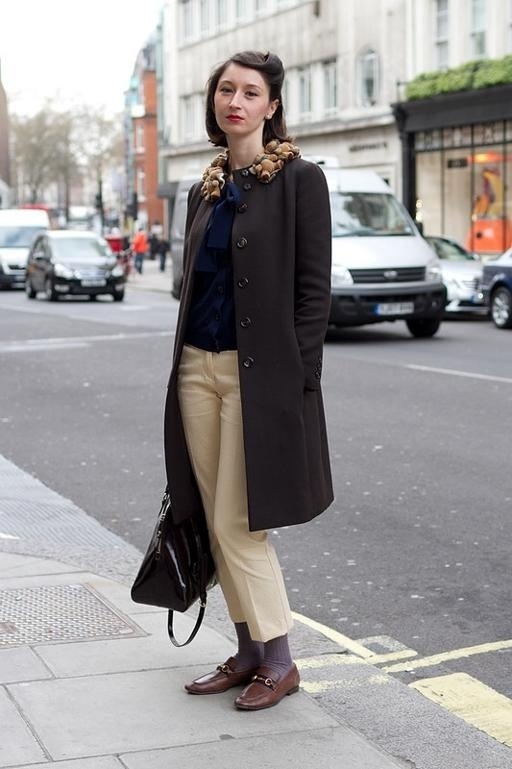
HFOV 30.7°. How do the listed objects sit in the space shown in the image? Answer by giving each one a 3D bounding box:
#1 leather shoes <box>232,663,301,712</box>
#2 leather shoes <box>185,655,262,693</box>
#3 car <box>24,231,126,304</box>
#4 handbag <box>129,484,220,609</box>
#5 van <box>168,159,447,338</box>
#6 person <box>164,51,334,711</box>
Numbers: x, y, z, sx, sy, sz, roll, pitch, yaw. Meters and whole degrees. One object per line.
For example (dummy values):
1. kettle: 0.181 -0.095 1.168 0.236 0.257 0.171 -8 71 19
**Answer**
1. leather shoes: 0.033 0.820 2.532 0.069 0.066 0.194 -4 2 37
2. leather shoes: -0.097 0.832 2.670 0.236 0.090 0.075 -6 8 -29
3. car: -4.555 -3.050 23.718 1.853 1.957 2.564 1 4 -31
4. handbag: -0.217 0.467 2.691 0.168 0.336 0.370 7 -1 12
5. van: 0.686 -2.453 15.649 2.772 2.709 5.735 -5 12 -26
6. person: -0.022 -0.022 2.563 0.465 1.780 0.360 4 4 15
